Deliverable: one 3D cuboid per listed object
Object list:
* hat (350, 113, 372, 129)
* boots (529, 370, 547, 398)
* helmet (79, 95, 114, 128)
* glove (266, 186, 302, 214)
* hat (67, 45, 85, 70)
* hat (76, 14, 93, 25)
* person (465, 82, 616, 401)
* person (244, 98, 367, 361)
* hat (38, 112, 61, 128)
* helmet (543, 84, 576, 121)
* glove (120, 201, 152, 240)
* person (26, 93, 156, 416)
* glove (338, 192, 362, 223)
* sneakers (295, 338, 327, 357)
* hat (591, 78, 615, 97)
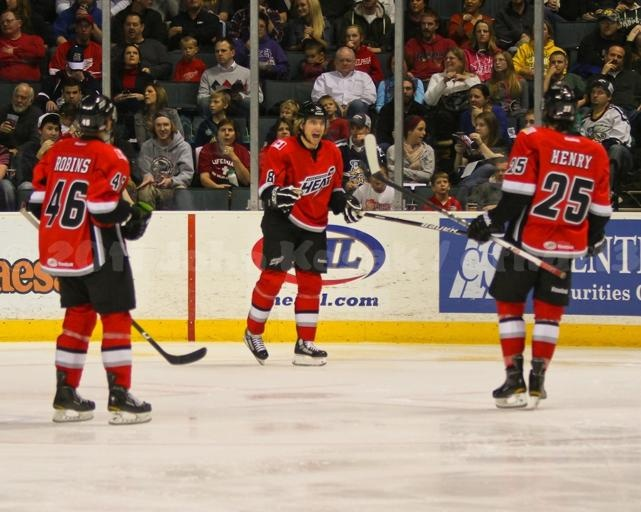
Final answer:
[{"bbox_3d":[0.312,-1.049,9.412,0.136,0.068,0.097,20,0,-42],"label":"hat"},{"bbox_3d":[1.287,0.757,7.115,0.102,0.225,0.226,1,8,10],"label":"boots"},{"bbox_3d":[-1.284,-0.820,6.846,0.163,0.167,0.207,1,-4,7],"label":"helmet"},{"bbox_3d":[-0.267,-0.394,8.362,0.213,0.185,0.229,-5,9,-31],"label":"glove"},{"bbox_3d":[-2.037,-1.638,9.972,0.115,0.195,0.185,-6,10,-33],"label":"hat"},{"bbox_3d":[-2.035,-2.023,10.314,0.091,0.095,0.163,12,4,-27],"label":"hat"},{"bbox_3d":[1.291,-0.080,7.161,0.768,1.884,0.479,-6,10,-34],"label":"person"},{"bbox_3d":[-0.138,-0.115,8.544,0.826,1.728,0.450,-1,8,-4],"label":"person"},{"bbox_3d":[-2.186,-1.095,9.647,0.109,0.080,0.161,5,-29,-28],"label":"hat"},{"bbox_3d":[1.399,-0.905,7.151,0.189,0.215,0.209,4,3,-9],"label":"helmet"},{"bbox_3d":[-1.083,-0.206,7.063,0.164,0.220,0.100,29,-14,48],"label":"glove"},{"bbox_3d":[-1.323,0.008,6.858,0.643,1.831,0.570,-2,9,-10],"label":"person"},{"bbox_3d":[0.210,-0.341,8.679,0.158,0.094,0.205,44,-12,-1],"label":"glove"},{"bbox_3d":[-0.084,0.660,8.588,0.289,0.121,0.093,1,1,14],"label":"sneakers"},{"bbox_3d":[2.238,-1.331,9.427,0.196,0.106,0.128,34,-9,-33],"label":"hat"}]
